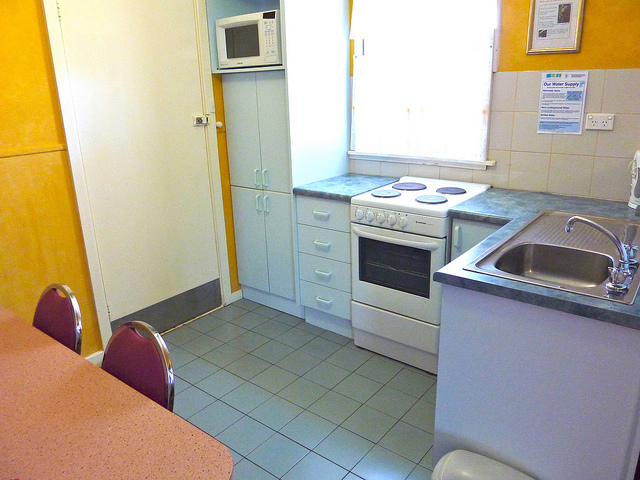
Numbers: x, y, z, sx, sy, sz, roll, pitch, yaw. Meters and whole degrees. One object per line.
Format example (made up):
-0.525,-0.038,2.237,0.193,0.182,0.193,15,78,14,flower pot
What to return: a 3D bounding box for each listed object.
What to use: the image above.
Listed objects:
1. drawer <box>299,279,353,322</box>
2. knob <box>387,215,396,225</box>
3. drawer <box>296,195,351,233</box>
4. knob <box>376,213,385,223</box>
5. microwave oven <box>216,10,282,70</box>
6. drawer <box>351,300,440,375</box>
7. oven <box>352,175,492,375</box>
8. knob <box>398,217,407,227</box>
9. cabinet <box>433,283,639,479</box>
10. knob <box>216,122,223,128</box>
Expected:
0.037,0.435,3.626,0.316,0.117,0.293,14,22,31,drawer
0.455,-0.126,3.073,0.066,0.063,0.020,17,29,39,knob
0.025,-0.189,3.491,0.346,0.161,0.280,8,20,29,drawer
0.393,-0.140,3.105,0.054,0.055,0.048,-12,18,-42,knob
-0.475,-1.471,3.595,0.543,0.351,0.304,7,18,28,microwave oven
0.528,0.608,3.287,0.638,0.413,0.412,12,20,35,drawer
0.523,0.280,3.236,0.719,1.092,0.252,14,27,34,oven
0.520,-0.110,3.036,0.021,0.068,0.073,-18,27,-34,knob
0.950,0.598,2.046,0.656,0.944,0.484,12,23,38,cabinet
-0.791,-0.901,3.766,0.056,0.043,0.034,-14,25,-28,knob
